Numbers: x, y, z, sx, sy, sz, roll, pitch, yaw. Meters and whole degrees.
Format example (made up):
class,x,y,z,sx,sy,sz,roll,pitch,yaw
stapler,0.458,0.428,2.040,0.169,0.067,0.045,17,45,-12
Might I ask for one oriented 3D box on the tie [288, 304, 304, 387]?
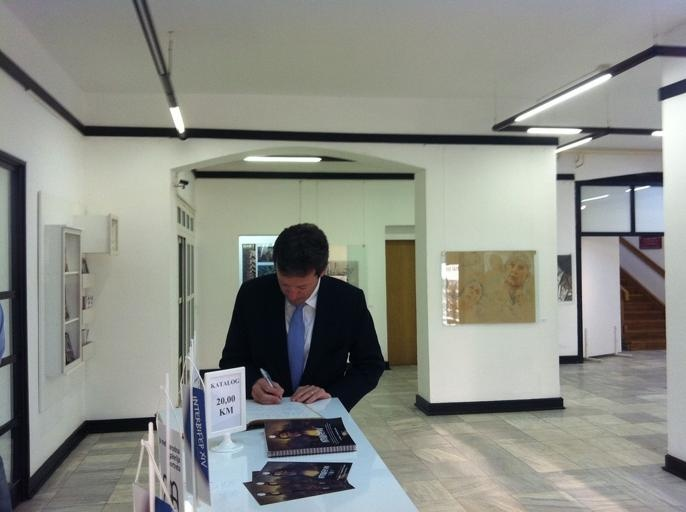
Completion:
class,x,y,z,sx,sy,sz,roll,pitch,yaw
tie,-0.311,0.628,3.515,0.115,0.584,0.063,0,2,2

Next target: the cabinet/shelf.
class,x,y,z,sx,sy,sz,roll,pitch,yaw
cabinet/shelf,-3.055,0.495,5.675,0.173,1.571,0.684,-1,-1,-13
